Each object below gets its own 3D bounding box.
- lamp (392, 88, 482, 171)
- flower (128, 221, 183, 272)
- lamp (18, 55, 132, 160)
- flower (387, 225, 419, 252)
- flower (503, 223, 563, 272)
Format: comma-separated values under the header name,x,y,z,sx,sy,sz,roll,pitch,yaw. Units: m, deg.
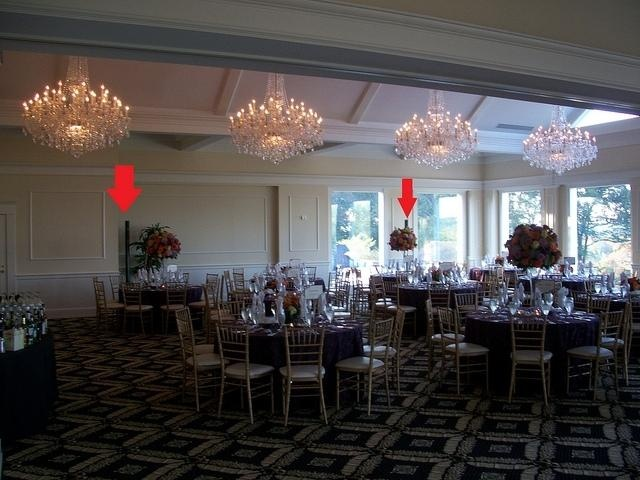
name,x,y,z,sx,sy,sz,roll,pitch,yaw
lamp,2.443,-2.316,9.508,1.434,1.702,1.721,1,4,30
flower,-3.862,0.306,11.136,1.037,1.036,0.992,-19,-6,33
lamp,-3.829,-2.163,7.358,1.400,1.625,0.897,-1,3,-11
flower,1.975,-0.005,11.258,0.634,0.644,0.585,13,-10,-43
flower,2.825,0.085,6.214,0.601,0.642,0.635,2,2,37
